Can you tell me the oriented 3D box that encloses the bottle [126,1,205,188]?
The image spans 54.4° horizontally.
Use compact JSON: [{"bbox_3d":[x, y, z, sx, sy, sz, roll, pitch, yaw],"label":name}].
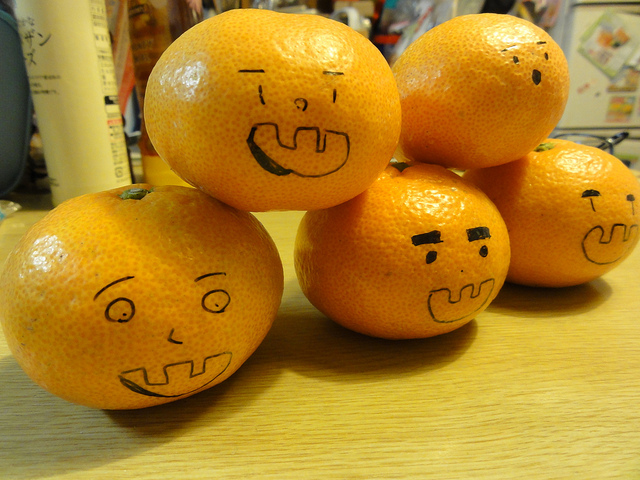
[{"bbox_3d":[-0.271,-0.251,1.099,0.128,0.322,0.377,-1,37,-10],"label":"bottle"}]
